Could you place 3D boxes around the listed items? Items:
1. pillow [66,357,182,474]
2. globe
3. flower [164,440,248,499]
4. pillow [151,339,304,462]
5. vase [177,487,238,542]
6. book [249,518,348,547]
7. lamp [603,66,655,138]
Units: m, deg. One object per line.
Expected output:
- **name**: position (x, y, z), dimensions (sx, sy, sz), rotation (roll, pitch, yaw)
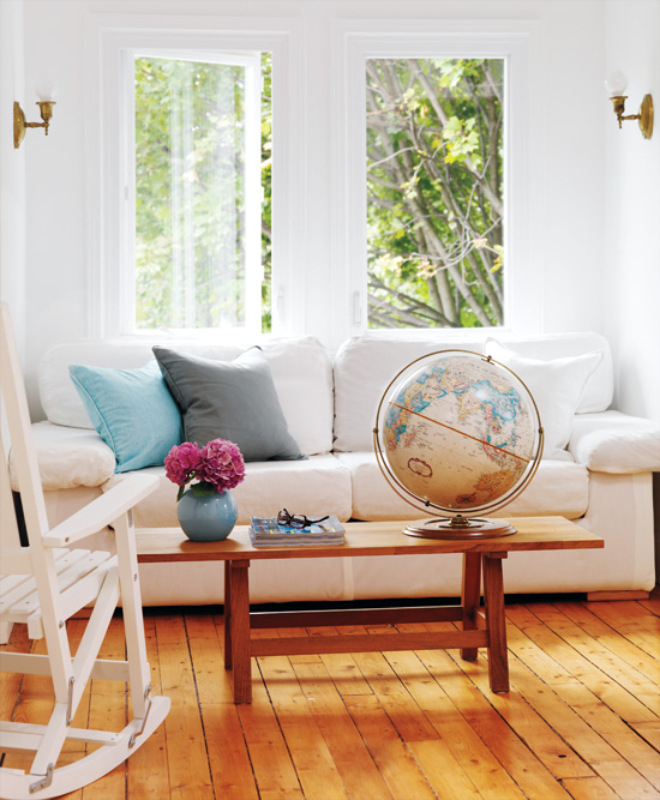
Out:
- **pillow**: position (-0.662, 0.062, 2.551), dimensions (0.217, 0.305, 0.392), rotation (-1, 5, 28)
- **globe**: position (0.304, 0.087, 1.796), dimensions (0.355, 0.378, 0.219), rotation (0, 2, -1)
- **flower**: position (-0.300, 0.163, 1.893), dimensions (0.160, 0.110, 0.146), rotation (-1, 0, 7)
- **pillow**: position (-0.347, 0.015, 2.681), dimensions (0.420, 0.356, 0.213), rotation (6, -17, -41)
- **vase**: position (-0.294, 0.266, 1.866), dimensions (0.143, 0.125, 0.143), rotation (-1, -4, 40)
- **book**: position (-0.079, 0.309, 1.850), dimensions (0.216, 0.036, 0.213), rotation (0, 1, -5)
- **lamp**: position (1.219, -1.177, 3.181), dimensions (0.171, 0.279, 0.400), rotation (1, 1, 21)
